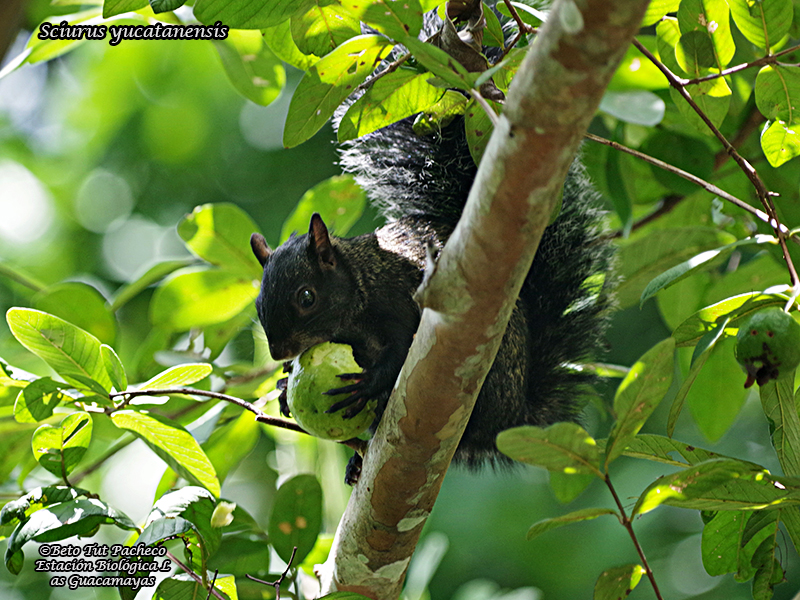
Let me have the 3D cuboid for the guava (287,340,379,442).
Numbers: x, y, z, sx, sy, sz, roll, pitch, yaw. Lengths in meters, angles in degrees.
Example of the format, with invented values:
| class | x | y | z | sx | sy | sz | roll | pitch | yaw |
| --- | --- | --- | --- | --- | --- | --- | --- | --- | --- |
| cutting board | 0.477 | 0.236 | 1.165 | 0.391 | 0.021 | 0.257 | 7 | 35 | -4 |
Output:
| class | x | y | z | sx | sy | sz | roll | pitch | yaw |
| --- | --- | --- | --- | --- | --- | --- | --- | --- | --- |
| guava | -0.206 | 0.310 | 2.905 | 0.266 | 0.329 | 0.270 | -7 | -18 | 16 |
